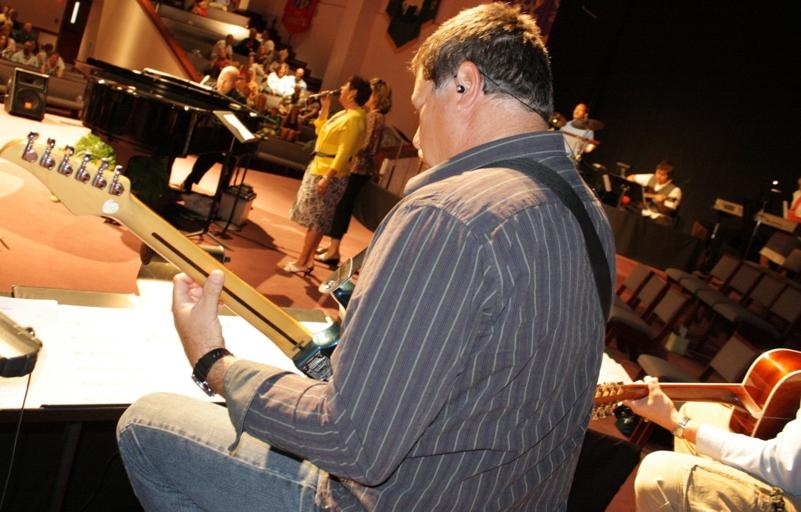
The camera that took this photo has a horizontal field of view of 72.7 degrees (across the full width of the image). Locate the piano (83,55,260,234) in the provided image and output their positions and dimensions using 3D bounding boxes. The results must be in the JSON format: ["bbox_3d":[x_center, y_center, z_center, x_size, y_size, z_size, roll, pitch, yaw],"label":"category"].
[{"bbox_3d":[-2.337,-0.856,5.630,1.729,1.491,1.470,16,1,10],"label":"piano"}]

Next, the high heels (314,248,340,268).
[{"bbox_3d":[-0.842,0.035,5.903,0.120,0.151,0.355,2,13,-40],"label":"high heels"}]

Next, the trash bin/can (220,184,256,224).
[{"bbox_3d":[-1.835,-0.549,6.083,0.273,0.384,0.294,22,18,-6],"label":"trash bin/can"}]

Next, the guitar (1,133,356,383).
[{"bbox_3d":[-1.416,-0.041,3.461,2.390,0.357,0.336,42,36,11],"label":"guitar"}]

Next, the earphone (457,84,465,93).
[{"bbox_3d":[0.191,-0.526,1.767,0.023,0.024,0.007,2,-1,25],"label":"earphone"}]

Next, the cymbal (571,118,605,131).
[{"bbox_3d":[3.165,-2.152,9.027,0.367,0.094,0.374,8,-7,-27],"label":"cymbal"}]

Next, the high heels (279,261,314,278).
[{"bbox_3d":[-1.011,0.140,5.309,0.280,0.111,0.133,13,-2,-17],"label":"high heels"}]

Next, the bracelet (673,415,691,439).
[{"bbox_3d":[1.516,0.913,2.945,0.041,0.095,0.093,18,-29,33],"label":"bracelet"}]

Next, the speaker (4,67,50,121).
[{"bbox_3d":[-5.875,-2.456,8.549,0.501,0.699,0.298,6,17,-41],"label":"speaker"}]

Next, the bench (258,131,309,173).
[{"bbox_3d":[-2.142,-1.662,9.722,0.990,0.651,0.440,12,-9,-22],"label":"bench"}]

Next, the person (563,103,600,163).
[{"bbox_3d":[3.067,-2.025,9.416,0.559,0.990,0.897,6,-5,-5],"label":"person"}]
